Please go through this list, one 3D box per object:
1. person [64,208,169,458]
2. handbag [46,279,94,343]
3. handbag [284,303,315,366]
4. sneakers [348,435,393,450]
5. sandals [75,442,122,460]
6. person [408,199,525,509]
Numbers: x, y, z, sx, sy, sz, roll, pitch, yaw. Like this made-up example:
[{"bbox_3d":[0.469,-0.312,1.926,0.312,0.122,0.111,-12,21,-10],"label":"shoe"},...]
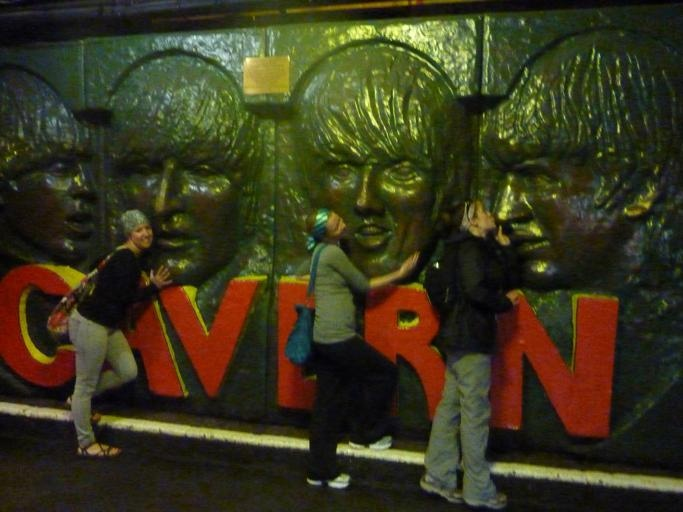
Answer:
[{"bbox_3d":[-2.088,0.632,5.870,0.645,2.060,1.016,3,14,4],"label":"person"},{"bbox_3d":[-2.447,0.483,5.876,0.189,0.541,0.407,23,9,-17],"label":"handbag"},{"bbox_3d":[-0.340,0.641,5.316,0.225,0.509,0.241,1,14,-5],"label":"handbag"},{"bbox_3d":[0.273,1.620,5.736,0.362,0.147,0.131,-5,-5,2],"label":"sneakers"},{"bbox_3d":[-2.116,1.694,5.661,0.324,0.086,0.147,1,10,1],"label":"sandals"},{"bbox_3d":[1.019,0.775,5.246,0.734,2.199,0.970,4,14,6],"label":"person"}]
